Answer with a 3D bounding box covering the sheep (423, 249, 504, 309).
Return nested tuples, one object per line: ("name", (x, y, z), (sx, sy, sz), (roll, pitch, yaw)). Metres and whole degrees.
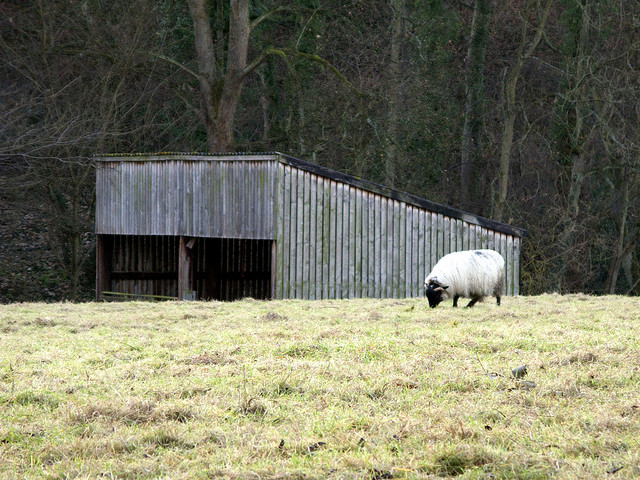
("sheep", (4.154, 1.158, 30.511), (2.491, 1.974, 1.391), (-8, 18, -21))
